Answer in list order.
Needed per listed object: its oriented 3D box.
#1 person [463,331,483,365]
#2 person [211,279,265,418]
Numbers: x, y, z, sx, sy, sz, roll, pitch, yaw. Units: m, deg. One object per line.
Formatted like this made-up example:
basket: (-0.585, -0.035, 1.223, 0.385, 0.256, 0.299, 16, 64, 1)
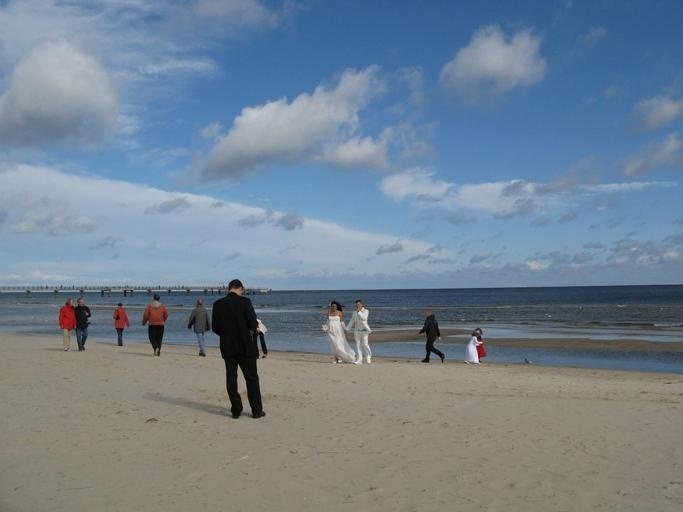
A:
person: (4.820, 3.244, 19.355, 0.479, 1.230, 0.751, -1, -3, 13)
person: (-1.971, 1.777, 10.230, 1.039, 2.632, 1.382, 0, -3, -10)
